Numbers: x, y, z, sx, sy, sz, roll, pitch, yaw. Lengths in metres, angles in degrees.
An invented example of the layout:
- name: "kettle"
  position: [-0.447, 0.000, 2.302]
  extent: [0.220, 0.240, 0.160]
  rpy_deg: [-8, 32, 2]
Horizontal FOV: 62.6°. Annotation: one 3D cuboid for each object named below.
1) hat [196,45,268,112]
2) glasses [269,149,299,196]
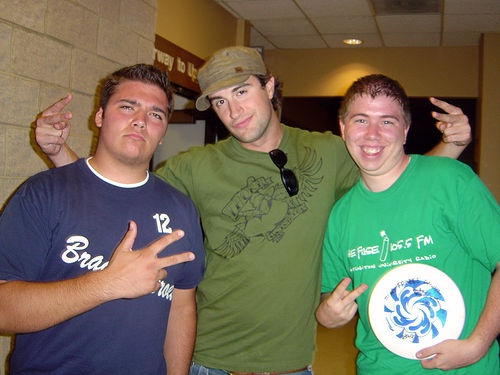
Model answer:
- name: "hat"
  position: [-0.111, -0.643, 2.292]
  extent: [0.364, 0.192, 0.279]
  rpy_deg: [-22, -4, -26]
- name: "glasses"
  position: [0.175, -0.088, 2.119]
  extent: [0.095, 0.290, 0.059]
  rpy_deg: [-1, -32, -28]
